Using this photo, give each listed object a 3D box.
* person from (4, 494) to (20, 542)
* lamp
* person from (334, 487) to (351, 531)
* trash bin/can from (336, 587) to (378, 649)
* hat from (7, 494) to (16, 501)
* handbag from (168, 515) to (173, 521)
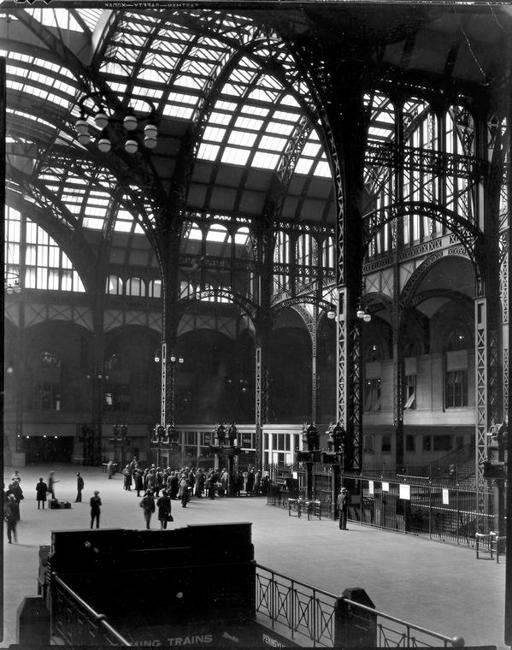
[{"bbox_3d":[-6.503,5.175,34.884,0.366,1.255,1.523,1,-9,-10],"label":"person"},{"bbox_3d":[-3.357,-4.921,31.747,1.947,1.163,2.149,14,-15,-37],"label":"lamp"},{"bbox_3d":[2.535,5.258,37.718,0.302,1.204,0.831,-1,-8,5],"label":"person"},{"bbox_3d":[2.030,5.954,26.647,0.867,1.193,1.351,-1,-8,5],"label":"trash bin/can"},{"bbox_3d":[-6.634,4.688,35.529,0.193,0.149,0.315,6,10,-14],"label":"hat"},{"bbox_3d":[-2.324,5.316,35.999,0.161,0.246,0.190,1,-2,-11],"label":"handbag"}]
